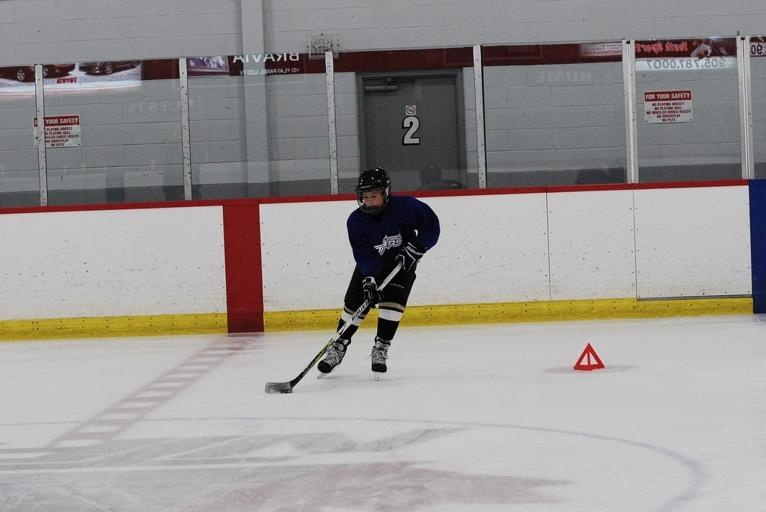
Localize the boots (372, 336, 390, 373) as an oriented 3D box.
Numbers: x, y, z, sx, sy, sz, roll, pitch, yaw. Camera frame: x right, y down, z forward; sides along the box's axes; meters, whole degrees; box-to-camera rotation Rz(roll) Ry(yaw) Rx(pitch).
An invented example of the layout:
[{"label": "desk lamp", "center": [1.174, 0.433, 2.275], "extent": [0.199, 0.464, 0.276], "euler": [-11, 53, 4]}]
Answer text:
[{"label": "boots", "center": [-0.026, 0.766, 10.837], "extent": [0.120, 0.225, 0.327], "euler": [12, 23, -7]}]

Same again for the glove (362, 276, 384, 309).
[{"label": "glove", "center": [-0.085, 0.274, 10.921], "extent": [0.178, 0.212, 0.092], "euler": [-6, 4, -31]}]

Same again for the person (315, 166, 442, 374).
[{"label": "person", "center": [-0.026, 0.143, 11.072], "extent": [0.958, 1.561, 0.857], "euler": [1, -3, -9]}]

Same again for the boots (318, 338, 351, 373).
[{"label": "boots", "center": [-0.399, 0.796, 10.869], "extent": [0.144, 0.167, 0.401], "euler": [36, 37, 1]}]
